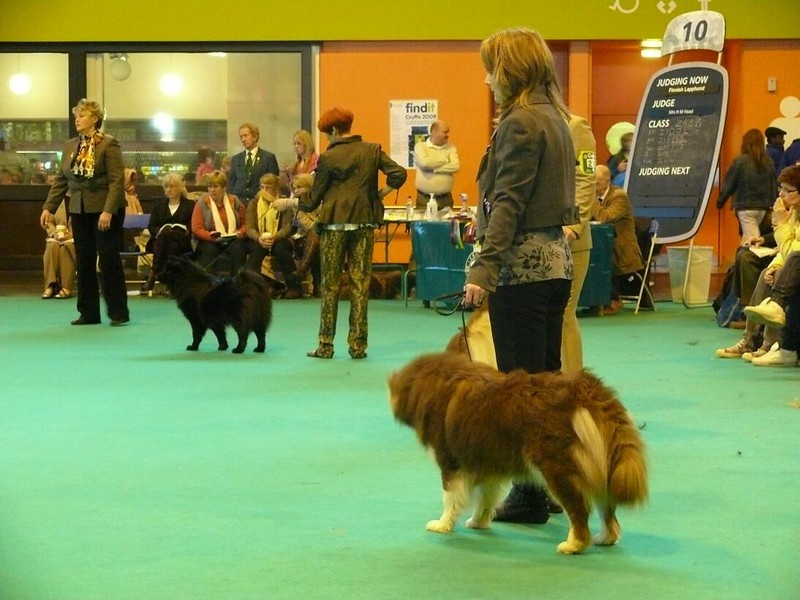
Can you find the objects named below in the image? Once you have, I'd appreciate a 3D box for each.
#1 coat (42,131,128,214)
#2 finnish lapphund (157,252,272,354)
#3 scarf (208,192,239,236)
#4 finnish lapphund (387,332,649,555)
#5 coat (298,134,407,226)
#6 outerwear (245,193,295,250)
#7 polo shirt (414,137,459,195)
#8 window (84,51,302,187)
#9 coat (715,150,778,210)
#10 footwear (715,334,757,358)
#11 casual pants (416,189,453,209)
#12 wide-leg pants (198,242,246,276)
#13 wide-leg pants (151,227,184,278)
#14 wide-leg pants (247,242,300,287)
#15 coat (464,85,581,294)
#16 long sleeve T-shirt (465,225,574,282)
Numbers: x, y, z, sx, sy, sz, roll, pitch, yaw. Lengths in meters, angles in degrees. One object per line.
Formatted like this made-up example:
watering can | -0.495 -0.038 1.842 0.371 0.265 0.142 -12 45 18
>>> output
coat | -3.336 -1.374 8.335 0.752 0.847 0.405 3 6 28
finnish lapphund | -1.701 0.047 7.083 1.018 0.836 0.481 4 10 13
scarf | -2.422 -1.141 10.501 0.320 0.603 0.149 -10 -3 -26
finnish lapphund | 0.401 0.542 2.801 1.020 0.634 0.341 0 -2 36
coat | -0.409 -1.028 6.558 0.867 0.775 0.389 -1 5 -8
outerwear | -1.825 -1.098 10.566 0.537 0.733 0.288 -4 9 -7
polo shirt | 0.529 -1.938 11.187 0.588 0.799 0.379 -1 5 -6
window | -3.406 -3.083 12.585 2.939 1.888 0.134 0 1 -2
coat | 4.572 -1.530 10.568 1.050 1.042 0.659 2 9 14
footwear | 2.964 0.399 6.706 0.397 0.176 0.149 -1 3 0
casual pants | 0.503 -1.473 11.253 0.451 0.470 0.314 0 5 15
wide-leg pants | -2.396 -0.600 10.438 0.515 0.277 0.637 0 -3 -15
wide-leg pants | -2.826 -0.602 9.339 0.370 0.665 0.218 7 -10 -8
wide-leg pants | -1.753 -0.549 10.721 0.662 0.647 0.465 2 -11 -9
coat | 0.479 -0.426 2.944 0.394 0.763 0.347 1 5 13
long sleeve T-shirt | 0.494 -0.140 3.041 0.311 0.212 0.233 -5 -11 25
